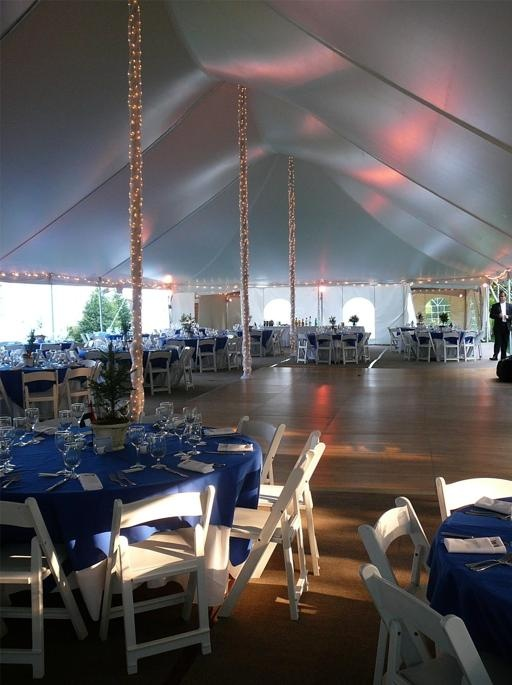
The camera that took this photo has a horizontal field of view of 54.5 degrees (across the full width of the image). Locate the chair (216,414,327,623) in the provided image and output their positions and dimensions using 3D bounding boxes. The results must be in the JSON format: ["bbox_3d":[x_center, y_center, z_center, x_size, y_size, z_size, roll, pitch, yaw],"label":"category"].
[{"bbox_3d":[0.153,0.844,2.676,0.635,1.001,0.732,0,0,12],"label":"chair"}]

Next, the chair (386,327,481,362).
[{"bbox_3d":[5.268,0.015,15.195,1.874,1.006,3.011,-3,1,-20],"label":"chair"}]

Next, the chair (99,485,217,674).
[{"bbox_3d":[-0.404,0.907,2.091,0.505,0.532,0.529,-3,1,-17],"label":"chair"}]
